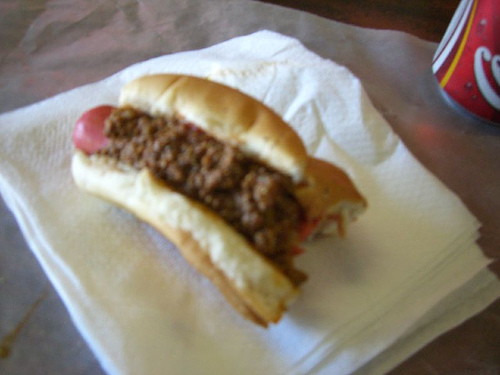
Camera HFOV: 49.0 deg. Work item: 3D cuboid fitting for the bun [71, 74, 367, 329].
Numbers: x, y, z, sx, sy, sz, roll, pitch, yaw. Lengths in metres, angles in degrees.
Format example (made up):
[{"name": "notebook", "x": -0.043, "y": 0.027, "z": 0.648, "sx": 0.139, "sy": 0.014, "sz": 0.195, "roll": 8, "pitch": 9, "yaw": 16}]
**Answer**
[{"name": "bun", "x": -0.066, "y": 0.020, "z": 1.141, "sx": 0.587, "sy": 0.205, "sz": 0.370, "roll": 41, "pitch": 74, "yaw": 11}]
